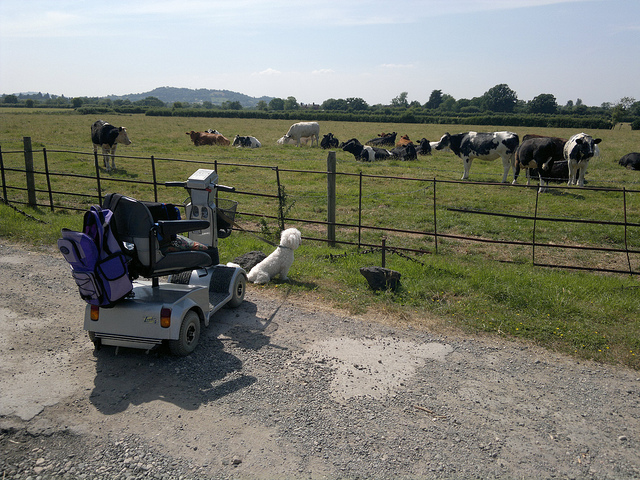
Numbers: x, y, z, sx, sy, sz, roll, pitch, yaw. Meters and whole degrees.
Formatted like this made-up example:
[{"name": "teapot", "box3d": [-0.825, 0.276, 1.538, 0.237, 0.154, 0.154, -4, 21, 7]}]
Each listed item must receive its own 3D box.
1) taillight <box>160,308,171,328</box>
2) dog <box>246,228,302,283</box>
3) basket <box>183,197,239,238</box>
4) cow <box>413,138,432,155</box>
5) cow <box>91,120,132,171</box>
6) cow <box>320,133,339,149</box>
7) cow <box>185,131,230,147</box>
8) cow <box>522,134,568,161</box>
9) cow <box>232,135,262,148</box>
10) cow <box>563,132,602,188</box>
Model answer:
[{"name": "taillight", "box3d": [-2.104, 1.057, 7.179, 0.140, 0.256, 0.067, 1, 12, 5]}, {"name": "dog", "box3d": [-0.881, 0.341, 10.344, 1.038, 1.095, 0.469, -7, 37, -27]}, {"name": "basket", "box3d": [-1.812, -0.367, 9.021, 0.877, 0.641, 0.805, -9, 13, -27]}, {"name": "cow", "box3d": [6.066, -5.473, 31.020, 0.788, 0.889, 1.584, -1, 6, 0]}, {"name": "cow", "box3d": [-9.910, -4.491, 24.766, 3.548, 2.195, 1.039, 16, 17, 42]}, {"name": "cow", "box3d": [0.650, -6.365, 34.083, 0.578, 0.942, 1.696, -1, 10, -3]}, {"name": "cow", "box3d": [-7.273, -6.667, 34.759, 2.260, 0.888, 2.183, -5, 13, -23]}, {"name": "cow", "box3d": [8.847, -3.732, 21.397, 2.370, 1.371, 0.903, 5, 17, 23]}, {"name": "cow", "box3d": [-4.922, -6.411, 34.800, 2.042, 1.033, 0.850, 5, 17, 14]}, {"name": "cow", "box3d": [10.119, -3.137, 20.622, 1.019, 1.972, 3.393, 7, 12, 14]}]
